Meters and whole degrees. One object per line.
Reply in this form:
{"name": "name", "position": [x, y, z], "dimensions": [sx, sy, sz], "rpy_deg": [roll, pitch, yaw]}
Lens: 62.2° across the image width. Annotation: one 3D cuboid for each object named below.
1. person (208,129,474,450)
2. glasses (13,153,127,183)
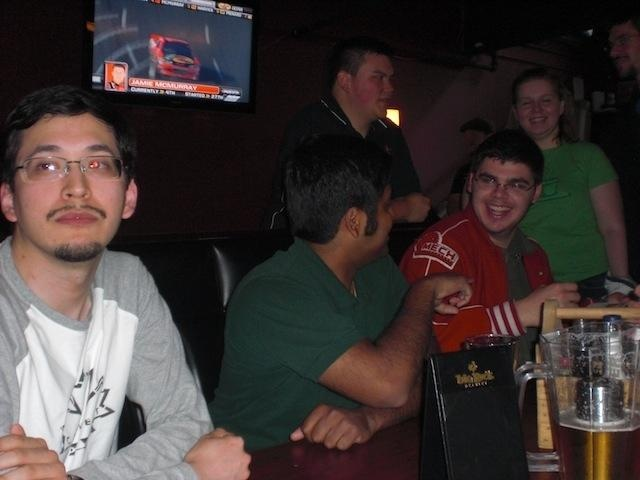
{"name": "person", "position": [0.181, 0.137, 1.951], "dimensions": [1.001, 1.372, 0.709], "rpy_deg": [-1, 5, -5]}
{"name": "glasses", "position": [-0.595, -0.169, 1.259], "dimensions": [0.224, 0.072, 0.035], "rpy_deg": [-1, -2, -21]}
